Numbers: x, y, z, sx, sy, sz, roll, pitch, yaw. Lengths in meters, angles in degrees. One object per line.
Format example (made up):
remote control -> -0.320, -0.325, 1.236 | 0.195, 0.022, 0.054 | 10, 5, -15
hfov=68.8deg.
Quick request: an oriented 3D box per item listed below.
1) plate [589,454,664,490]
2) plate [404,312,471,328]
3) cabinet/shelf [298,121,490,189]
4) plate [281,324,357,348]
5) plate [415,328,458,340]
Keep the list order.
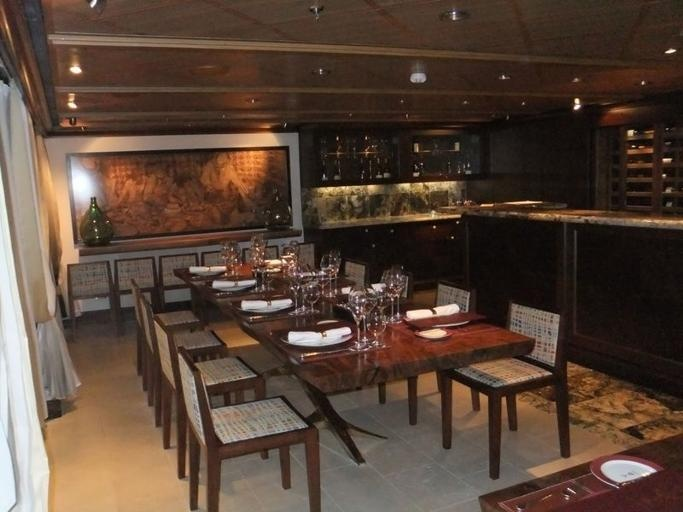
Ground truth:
plate -> 0.886, 0.665, 1.579 | 0.192, 0.038, 0.125 | -5, 9, -11
plate -> 0.648, 0.415, 3.151 | 0.443, 0.041, 0.229 | -5, 9, -12
cabinet/shelf -> 1.030, -1.697, 8.439 | 3.343, 0.931, 0.309 | -7, 12, -23
plate -> -0.114, 0.457, 2.888 | 0.400, 0.086, 0.222 | -7, 10, -21
plate -> 0.558, 0.462, 2.954 | 0.223, 0.024, 0.164 | -4, 9, -10
